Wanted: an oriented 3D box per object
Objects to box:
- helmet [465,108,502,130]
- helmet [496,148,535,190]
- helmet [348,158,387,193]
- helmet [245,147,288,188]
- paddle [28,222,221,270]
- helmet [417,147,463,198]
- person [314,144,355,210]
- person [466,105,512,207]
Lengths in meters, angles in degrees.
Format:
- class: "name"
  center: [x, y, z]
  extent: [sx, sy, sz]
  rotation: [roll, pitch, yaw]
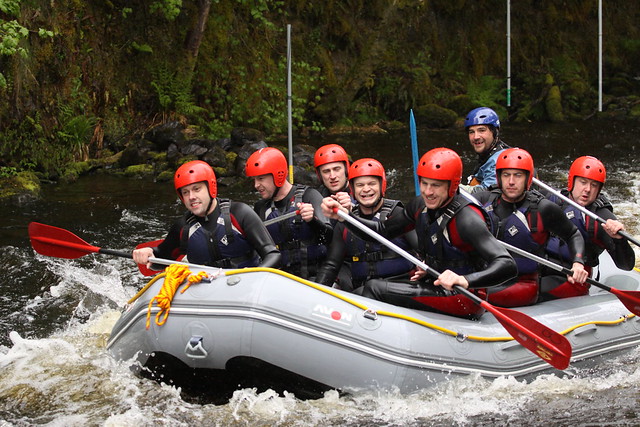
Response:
- class: "helmet"
  center: [2.465, -1.447, 10.440]
  extent: [0.292, 0.460, 0.333]
  rotation: [-14, -2, 24]
- class: "helmet"
  center: [2.606, -0.596, 9.197]
  extent: [0.386, 0.601, 0.554]
  rotation: [0, -5, 19]
- class: "helmet"
  center: [0.621, -0.528, 9.114]
  extent: [0.370, 0.515, 0.513]
  rotation: [-6, -11, 11]
- class: "helmet"
  center: [-0.689, -0.621, 9.284]
  extent: [0.569, 0.554, 0.454]
  rotation: [-16, 10, -29]
- class: "paddle"
  center: [-2.903, 0.502, 10.084]
  extent: [2.966, 0.494, 0.139]
  rotation: [11, 17, 17]
- class: "helmet"
  center: [1.537, -0.510, 8.411]
  extent: [0.456, 0.635, 0.571]
  rotation: [2, 0, 37]
- class: "person"
  center: [0.180, -0.571, 9.794]
  extent: [0.523, 0.797, 0.535]
  rotation: [2, -21, -46]
- class: "person"
  center: [2.487, -0.920, 10.570]
  extent: [0.905, 1.462, 0.857]
  rotation: [-9, 8, -37]
